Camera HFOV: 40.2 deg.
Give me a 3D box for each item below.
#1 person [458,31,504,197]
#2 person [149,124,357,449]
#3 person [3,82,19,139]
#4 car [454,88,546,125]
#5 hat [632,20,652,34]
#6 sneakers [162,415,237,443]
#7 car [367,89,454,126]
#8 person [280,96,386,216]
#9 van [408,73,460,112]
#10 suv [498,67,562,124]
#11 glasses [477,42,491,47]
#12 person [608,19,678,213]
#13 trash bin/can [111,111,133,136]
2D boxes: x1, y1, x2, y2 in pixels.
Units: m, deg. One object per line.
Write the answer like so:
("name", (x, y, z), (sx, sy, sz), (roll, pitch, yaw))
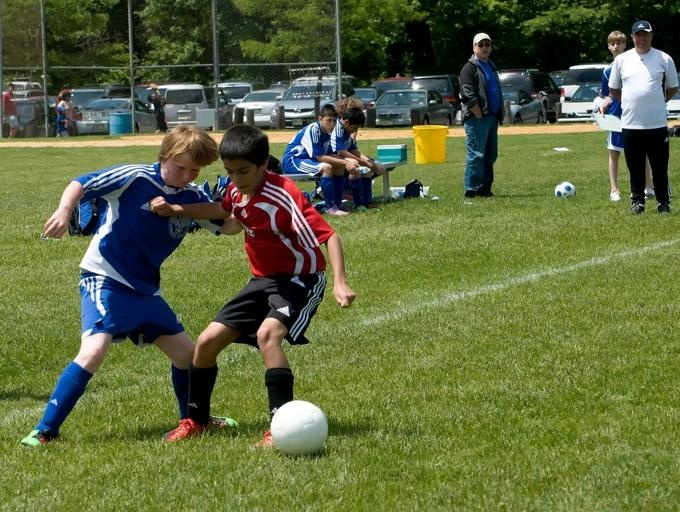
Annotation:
("person", (1.804, -1.811, 12.011), (0.428, 2.075, 0.676), (4, 10, 37))
("person", (-0.472, 0.159, 5.304), (1.101, 1.791, 0.517), (-1, 8, 0))
("person", (-8.958, -3.952, 25.185), (0.387, 1.415, 0.436), (-4, 8, -20))
("car", (4.695, -4.173, 26.458), (1.977, 1.451, 4.038), (5, 9, 30))
("hat", (3.257, -2.442, 10.020), (0.237, 0.194, 0.351), (0, 12, 17))
("sneakers", (-0.831, 1.015, 5.510), (0.416, 0.168, 0.146), (-2, 2, -39))
("car", (1.975, -4.097, 25.604), (1.094, 0.718, 2.085), (2, 6, 18))
("person", (-0.154, -1.181, 11.539), (1.457, 1.662, 1.026), (6, 10, 34))
("van", (3.009, -5.110, 28.425), (0.834, 0.799, 1.862), (1, 4, 16))
("suv", (6.037, -4.983, 29.589), (1.732, 1.906, 4.030), (3, 12, 30))
("glasses", (1.846, -2.699, 11.902), (0.166, 0.075, 0.101), (-4, 8, -15))
("person", (3.313, -1.516, 10.177), (0.694, 2.098, 0.510), (1, 8, 15))
("trash bin/can", (-6.071, -3.620, 25.712), (0.698, 0.748, 0.723), (4, 8, 31))
